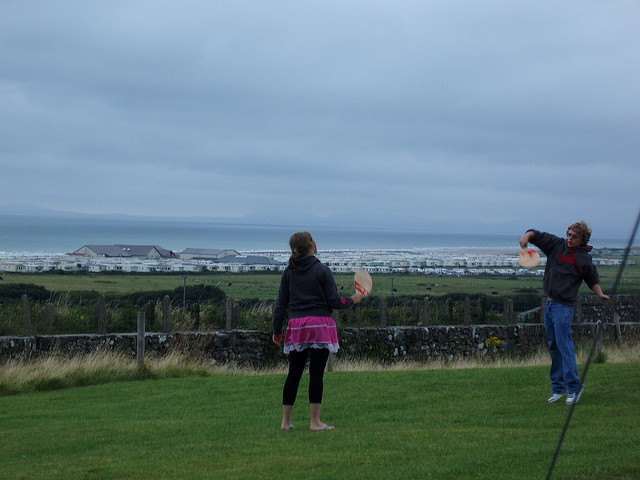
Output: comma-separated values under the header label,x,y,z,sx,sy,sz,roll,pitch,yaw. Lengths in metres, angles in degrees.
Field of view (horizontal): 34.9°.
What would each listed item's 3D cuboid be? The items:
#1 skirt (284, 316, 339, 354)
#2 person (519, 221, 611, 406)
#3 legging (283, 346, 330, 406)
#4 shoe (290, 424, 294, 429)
label,x,y,z,sx,sy,sz,roll,pitch,yaw
skirt,-0.154,1.509,16.335,0.846,0.576,0.374,0,-3,-3
person,4.153,1.249,17.400,1.286,3.076,0.653,-3,-4,42
legging,-0.235,2.192,16.410,0.759,0.978,0.344,-1,-3,1
shoe,-0.473,3.054,16.683,0.071,0.103,0.102,0,-6,-5
